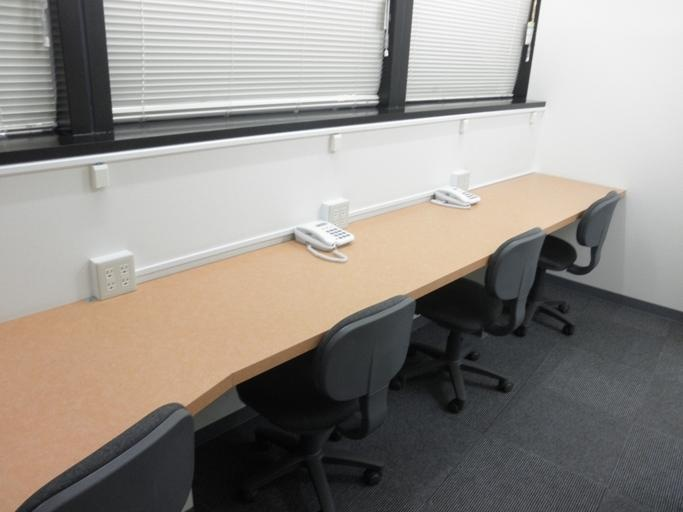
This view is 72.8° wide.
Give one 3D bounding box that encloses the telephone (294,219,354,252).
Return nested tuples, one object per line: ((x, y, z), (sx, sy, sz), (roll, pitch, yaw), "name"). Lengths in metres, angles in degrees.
((-0.097, -0.102, 2.177), (0.184, 0.063, 0.169), (22, 34, 29), "telephone")

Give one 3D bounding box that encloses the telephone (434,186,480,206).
((0.697, -0.373, 2.838), (0.173, 0.065, 0.156), (17, 28, 32), "telephone")
